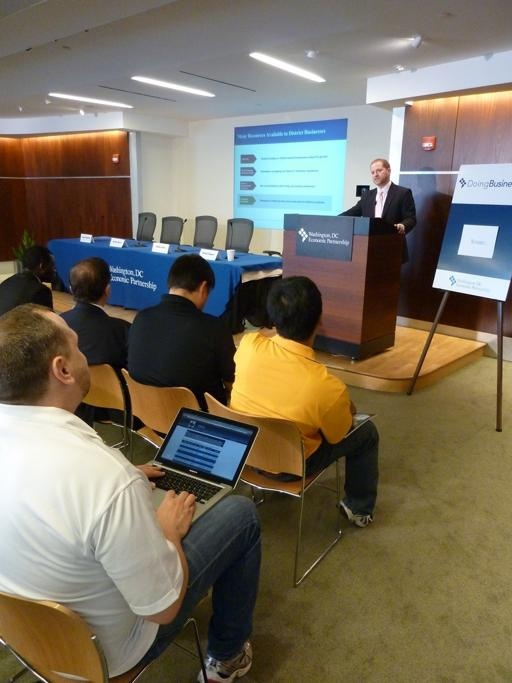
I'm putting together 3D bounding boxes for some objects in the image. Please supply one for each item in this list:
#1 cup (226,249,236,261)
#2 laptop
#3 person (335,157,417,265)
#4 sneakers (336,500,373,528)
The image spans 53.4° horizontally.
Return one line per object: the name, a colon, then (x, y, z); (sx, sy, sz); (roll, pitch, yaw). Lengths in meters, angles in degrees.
cup: (-0.274, -0.932, 5.467); (0.144, 0.153, 0.143); (1, 12, 0)
laptop: (-0.156, 0.328, 1.455); (0.250, 0.156, 0.243); (16, 16, 25)
person: (1.276, -1.463, 5.045); (0.305, 0.635, 0.837); (-9, 20, -30)
sneakers: (0.434, 0.735, 2.231); (0.122, 0.046, 0.098); (17, 9, 37)
